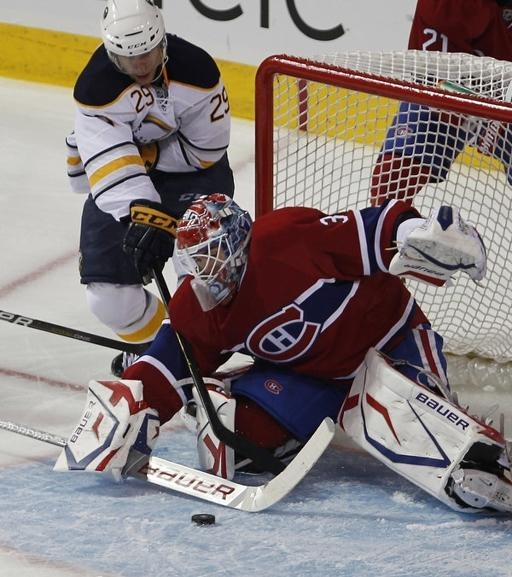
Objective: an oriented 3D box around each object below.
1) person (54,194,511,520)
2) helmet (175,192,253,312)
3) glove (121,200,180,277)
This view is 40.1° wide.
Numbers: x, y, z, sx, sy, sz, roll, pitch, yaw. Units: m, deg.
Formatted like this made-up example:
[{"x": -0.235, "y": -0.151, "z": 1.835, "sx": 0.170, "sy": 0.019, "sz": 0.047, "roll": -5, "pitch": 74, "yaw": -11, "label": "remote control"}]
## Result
[{"x": 0.252, "y": 0.189, "z": 1.691, "sx": 1.127, "sy": 0.543, "sz": 0.759, "roll": -5, "pitch": 20, "yaw": 40, "label": "person"}, {"x": -0.092, "y": -0.069, "z": 1.530, "sx": 0.156, "sy": 0.268, "sz": 0.127, "roll": 0, "pitch": 16, "yaw": 4, "label": "helmet"}, {"x": -0.274, "y": -0.134, "z": 1.841, "sx": 0.170, "sy": 0.180, "sz": 0.076, "roll": -7, "pitch": 11, "yaw": 18, "label": "glove"}]
